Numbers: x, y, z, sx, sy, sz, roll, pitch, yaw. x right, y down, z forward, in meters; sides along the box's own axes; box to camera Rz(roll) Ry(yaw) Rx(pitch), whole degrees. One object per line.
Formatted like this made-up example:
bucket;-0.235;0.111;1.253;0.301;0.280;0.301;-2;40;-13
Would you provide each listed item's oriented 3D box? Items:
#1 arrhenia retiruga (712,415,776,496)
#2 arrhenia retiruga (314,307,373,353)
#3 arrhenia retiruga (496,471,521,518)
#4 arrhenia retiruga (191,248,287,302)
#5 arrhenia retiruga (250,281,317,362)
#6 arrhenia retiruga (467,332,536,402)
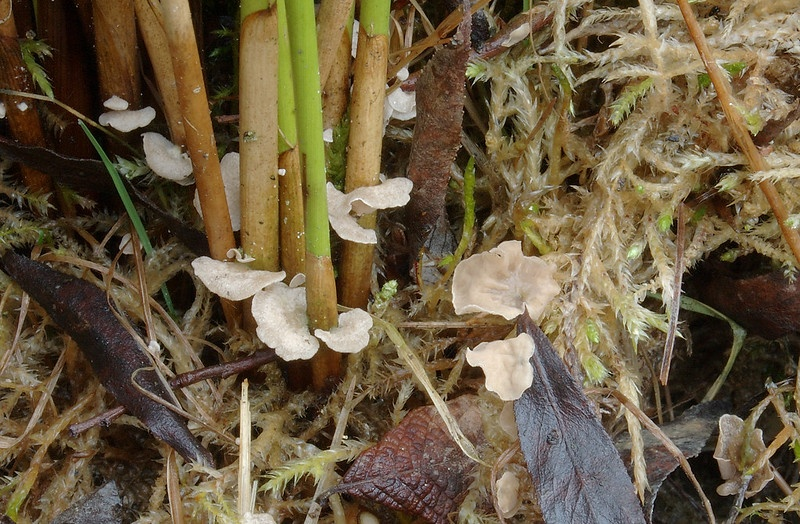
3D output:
arrhenia retiruga;0.684;0.390;1.666;0.124;0.162;0.067;-1;-4;9
arrhenia retiruga;-0.099;0.132;1.562;0.086;0.022;0.090;18;54;23
arrhenia retiruga;0.211;0.456;1.615;0.062;0.086;0.024;1;1;-15
arrhenia retiruga;-0.310;0.021;1.563;0.165;0.048;0.088;13;41;23
arrhenia retiruga;-0.220;0.113;1.550;0.139;0.029;0.136;35;49;-17
arrhenia retiruga;0.202;0.196;1.566;0.110;0.139;0.151;5;21;1
